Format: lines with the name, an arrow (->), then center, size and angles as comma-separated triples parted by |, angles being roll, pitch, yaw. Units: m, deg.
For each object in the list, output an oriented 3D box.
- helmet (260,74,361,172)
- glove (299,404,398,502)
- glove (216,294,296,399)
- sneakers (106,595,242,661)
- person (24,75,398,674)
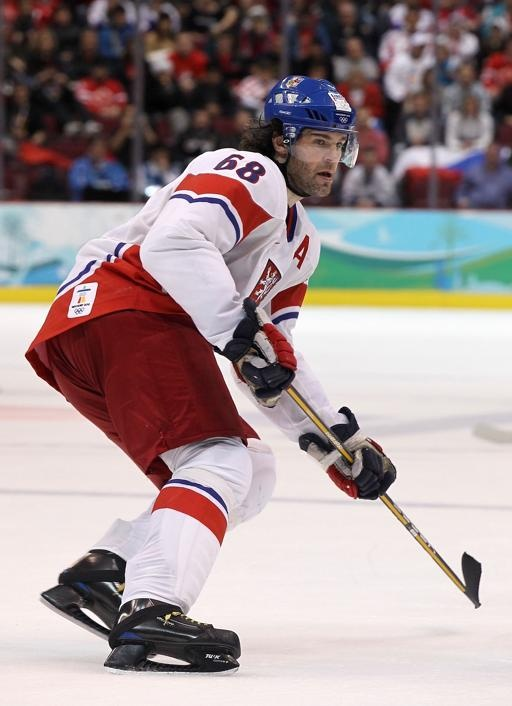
helmet -> 0.120, -0.468, 1.678 | 0.204, 0.168, 0.166 | 31, 36, 35
glove -> 0.197, 0.222, 1.710 | 0.100, 0.228, 0.168 | -52, -3, -11
glove -> 0.007, -0.015, 1.317 | 0.083, 0.124, 0.168 | 4, -39, -43
sneakers -> -0.122, 0.422, 1.254 | 0.199, 0.118, 0.082 | 2, 4, -4
person -> -0.111, -0.031, 1.523 | 0.533, 1.050, 0.691 | 5, 5, 30
